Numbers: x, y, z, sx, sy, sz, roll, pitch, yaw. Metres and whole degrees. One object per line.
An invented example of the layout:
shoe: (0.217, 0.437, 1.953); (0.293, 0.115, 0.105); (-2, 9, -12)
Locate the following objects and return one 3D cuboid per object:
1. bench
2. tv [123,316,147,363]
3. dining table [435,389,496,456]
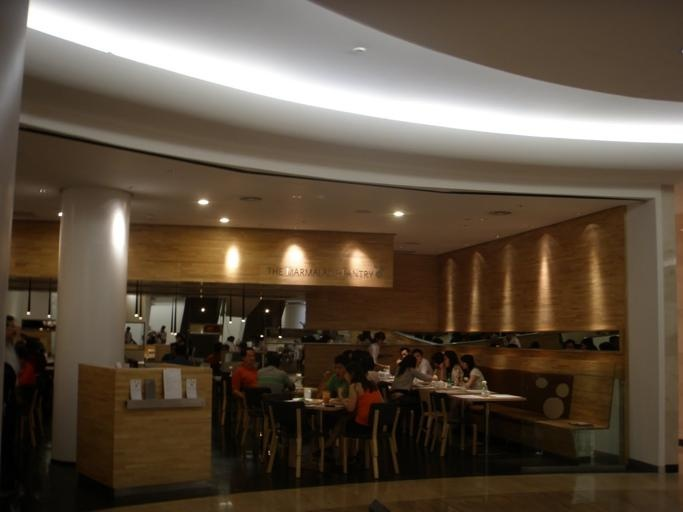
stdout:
bench: (3.377, 2.685, 10.074); (0.953, 1.541, 3.754); (7, -8, -16)
tv: (-4.313, 1.762, 11.282); (0.030, 0.885, 0.643); (-11, -16, 18)
dining table: (1.895, 2.793, 9.290); (0.794, 1.152, 1.212); (5, -9, 1)
